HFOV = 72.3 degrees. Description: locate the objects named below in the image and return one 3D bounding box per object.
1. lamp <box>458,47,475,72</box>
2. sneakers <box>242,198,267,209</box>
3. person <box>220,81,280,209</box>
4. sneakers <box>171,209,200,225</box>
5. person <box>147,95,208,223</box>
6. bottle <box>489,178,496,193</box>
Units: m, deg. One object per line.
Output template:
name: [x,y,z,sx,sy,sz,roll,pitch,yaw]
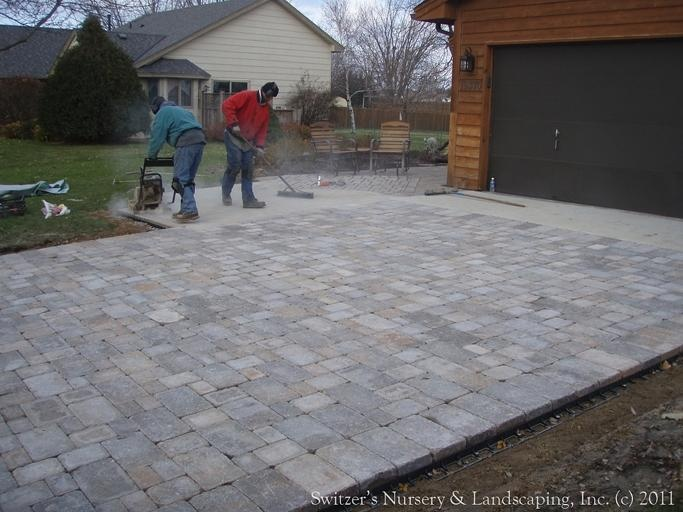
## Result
lamp: [2.671,-4.161,9.878,0.239,0.498,0.222,-7,16,-31]
sneakers: [-1.547,-0.948,8.496,0.464,0.157,0.156,-2,9,-5]
person: [-1.646,-2.005,8.463,1.044,2.212,0.850,-2,14,-11]
sneakers: [-2.458,-0.638,7.441,0.397,0.187,0.272,-3,13,-16]
person: [-2.680,-1.640,7.704,0.885,1.995,1.342,-4,14,-19]
bottle: [3.254,-1.546,10.034,0.126,0.311,0.079,13,18,39]
